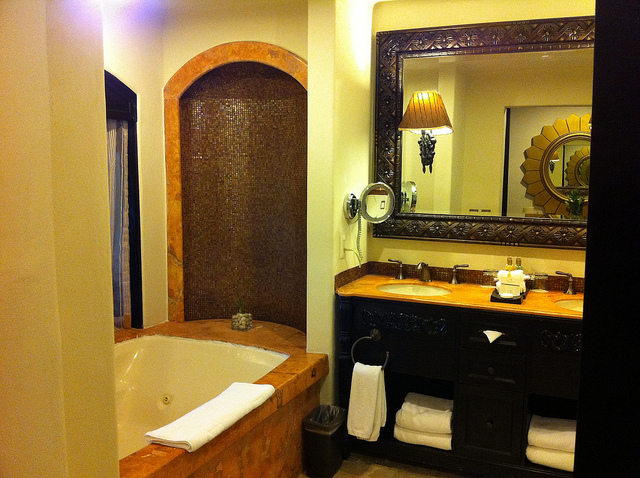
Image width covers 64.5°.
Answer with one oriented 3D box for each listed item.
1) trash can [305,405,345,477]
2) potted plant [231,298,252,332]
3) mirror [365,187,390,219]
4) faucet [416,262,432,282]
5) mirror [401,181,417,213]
[{"bbox_3d":[0.026,1.059,2.658,0.183,0.303,0.229,2,6,15],"label":"trash can"},{"bbox_3d":[-0.511,0.503,3.340,0.136,0.188,0.138,1,2,-5],"label":"potted plant"},{"bbox_3d":[0.342,-0.209,2.926,0.200,0.251,0.025,-2,35,-4],"label":"mirror"},{"bbox_3d":[0.635,0.197,3.075,0.094,0.115,0.099,1,6,8],"label":"faucet"},{"bbox_3d":[0.555,-0.280,3.191,0.112,0.215,0.153,5,-4,20],"label":"mirror"}]
